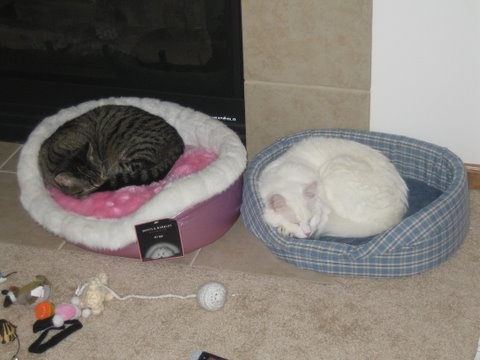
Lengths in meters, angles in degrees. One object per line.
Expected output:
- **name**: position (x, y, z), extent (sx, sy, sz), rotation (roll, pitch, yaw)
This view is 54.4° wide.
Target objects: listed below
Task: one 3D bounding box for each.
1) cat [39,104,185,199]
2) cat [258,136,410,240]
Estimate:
- **cat**: position (-0.529, -0.136, 1.891), extent (0.556, 0.147, 0.358), rotation (-12, 58, -8)
- **cat**: position (0.337, 0.007, 1.718), extent (0.542, 0.199, 0.404), rotation (-5, 58, -3)
